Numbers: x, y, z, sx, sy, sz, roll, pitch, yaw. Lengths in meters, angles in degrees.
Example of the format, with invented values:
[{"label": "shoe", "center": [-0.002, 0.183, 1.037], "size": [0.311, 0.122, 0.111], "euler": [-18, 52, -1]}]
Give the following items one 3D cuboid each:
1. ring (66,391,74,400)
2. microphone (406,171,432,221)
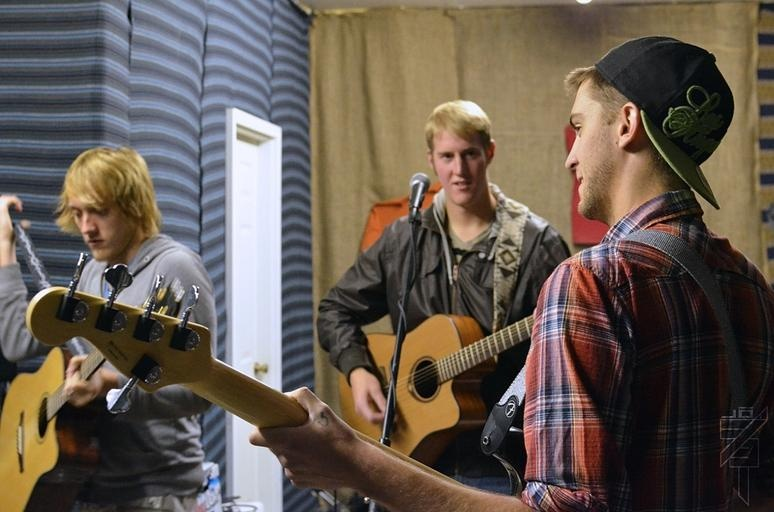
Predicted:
[{"label": "ring", "center": [-1.249, 0.548, 4.876], "size": [0.018, 0.036, 0.006], "euler": [3, 29, 3]}, {"label": "microphone", "center": [0.113, -0.266, 5.267], "size": [0.080, 0.225, 0.079], "euler": [9, -17, 21]}]
